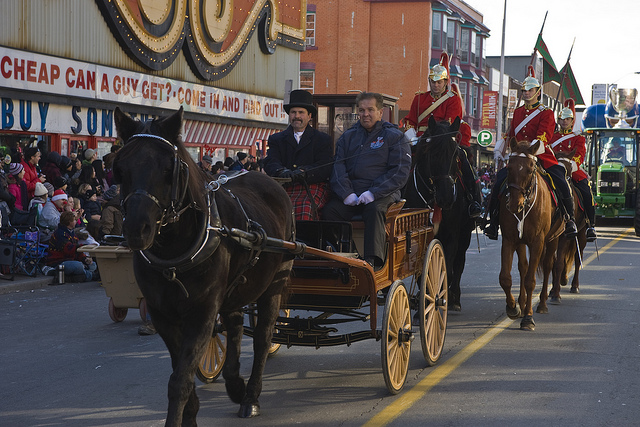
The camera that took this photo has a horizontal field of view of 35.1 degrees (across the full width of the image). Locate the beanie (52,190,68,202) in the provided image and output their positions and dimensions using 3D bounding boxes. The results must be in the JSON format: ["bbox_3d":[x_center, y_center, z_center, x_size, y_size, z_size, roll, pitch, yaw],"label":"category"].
[{"bbox_3d":[-5.866,-0.396,22.798,0.324,0.217,0.342,-4,15,-13],"label":"beanie"}]

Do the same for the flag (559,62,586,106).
[{"bbox_3d":[6.748,-3.445,27.245,0.552,1.396,3.023,3,14,16],"label":"flag"}]

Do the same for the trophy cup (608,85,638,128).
[{"bbox_3d":[11.897,-4.173,39.917,0.939,1.468,1.939,2,14,9],"label":"trophy cup"}]

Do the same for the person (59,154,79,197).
[{"bbox_3d":[-6.069,-0.791,24.109,0.389,1.185,0.357,-12,-26,1],"label":"person"}]

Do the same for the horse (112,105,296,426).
[{"bbox_3d":[-1.552,0.804,14.098,1.142,4.614,2.582,13,20,41],"label":"horse"}]

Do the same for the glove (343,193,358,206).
[{"bbox_3d":[0.499,-0.223,16.353,0.167,0.169,0.214,-4,-19,20],"label":"glove"}]

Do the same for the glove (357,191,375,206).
[{"bbox_3d":[0.721,-0.238,16.259,0.278,0.209,0.168,7,17,28],"label":"glove"}]

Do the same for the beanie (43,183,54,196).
[{"bbox_3d":[-6.131,-0.546,22.918,0.214,0.213,0.245,1,4,-10],"label":"beanie"}]

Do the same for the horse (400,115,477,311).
[{"bbox_3d":[2.175,0.083,18.767,0.919,3.814,1.428,10,19,35],"label":"horse"}]

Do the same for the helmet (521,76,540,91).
[{"bbox_3d":[4.104,-2.524,19.793,0.322,0.233,0.313,2,15,10],"label":"helmet"}]

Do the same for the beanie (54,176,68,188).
[{"bbox_3d":[-5.993,-0.712,23.339,0.297,0.181,0.268,1,-8,-7],"label":"beanie"}]

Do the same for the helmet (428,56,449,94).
[{"bbox_3d":[2.263,-2.582,19.554,0.319,0.551,0.475,4,15,17],"label":"helmet"}]
